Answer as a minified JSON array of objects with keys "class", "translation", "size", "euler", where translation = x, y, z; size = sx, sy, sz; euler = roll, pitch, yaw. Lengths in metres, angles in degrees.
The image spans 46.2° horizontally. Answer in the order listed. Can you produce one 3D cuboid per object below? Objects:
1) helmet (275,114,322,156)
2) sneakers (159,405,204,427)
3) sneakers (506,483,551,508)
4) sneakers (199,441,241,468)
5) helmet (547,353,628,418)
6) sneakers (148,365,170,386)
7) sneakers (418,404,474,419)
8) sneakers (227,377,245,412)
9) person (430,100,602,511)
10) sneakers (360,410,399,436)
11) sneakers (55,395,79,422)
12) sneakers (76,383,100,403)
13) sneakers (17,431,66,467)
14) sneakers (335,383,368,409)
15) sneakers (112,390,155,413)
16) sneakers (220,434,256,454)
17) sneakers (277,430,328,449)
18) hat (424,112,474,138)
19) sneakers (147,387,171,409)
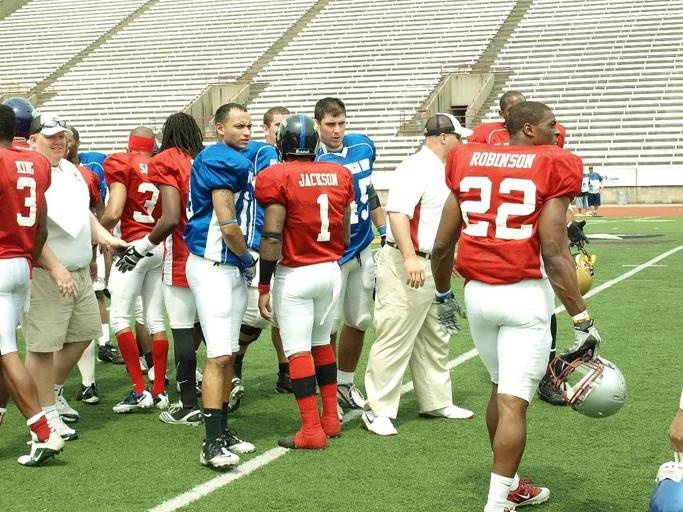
[{"class":"helmet","translation":[-0.308,-0.873,5.778],"size":[0.239,0.277,0.319],"euler":[-1,19,-7]},{"class":"sneakers","translation":[-1.299,1.283,6.484],"size":[0.354,0.179,0.140],"euler":[3,-6,8]},{"class":"sneakers","translation":[1.189,1.530,5.200],"size":[0.341,0.158,0.125],"euler":[-5,7,-28]},{"class":"sneakers","translation":[-0.867,1.375,5.584],"size":[0.294,0.167,0.147],"euler":[-2,-7,35]},{"class":"helmet","translation":[1.471,0.765,4.831],"size":[0.415,0.320,0.357],"euler":[34,-4,24]},{"class":"sneakers","translation":[-1.691,1.088,7.310],"size":[0.130,0.173,0.388],"euler":[2,-4,-31]},{"class":"sneakers","translation":[0.842,1.268,6.546],"size":[0.428,0.192,0.157],"euler":[-3,0,9]},{"class":"sneakers","translation":[-0.888,1.163,6.749],"size":[0.106,0.259,0.126],"euler":[29,5,-10]},{"class":"person","translation":[1.065,0.312,5.152],"size":[0.791,2.558,0.970],"euler":[-3,9,-14]},{"class":"sneakers","translation":[0.288,1.283,6.241],"size":[0.257,0.105,0.135],"euler":[10,4,44]},{"class":"sneakers","translation":[-2.208,1.265,6.531],"size":[0.264,0.120,0.097],"euler":[33,14,12]},{"class":"sneakers","translation":[-2.259,1.205,7.062],"size":[0.104,0.148,0.275],"euler":[0,1,-29]},{"class":"sneakers","translation":[-2.160,1.352,5.714],"size":[0.360,0.233,0.199],"euler":[2,10,20]},{"class":"sneakers","translation":[0.081,1.209,6.862],"size":[0.339,0.143,0.123],"euler":[21,9,41]},{"class":"sneakers","translation":[-1.747,1.232,6.753],"size":[0.360,0.183,0.156],"euler":[-6,-26,-10]},{"class":"sneakers","translation":[-0.758,1.372,5.886],"size":[0.289,0.143,0.107],"euler":[4,-2,0]},{"class":"sneakers","translation":[-0.289,1.324,5.947],"size":[0.296,0.128,0.153],"euler":[4,-2,16]},{"class":"hat","translation":[0.814,-1.011,6.194],"size":[0.289,0.185,0.201],"euler":[-5,15,-4]},{"class":"sneakers","translation":[-1.555,1.233,6.842],"size":[0.085,0.117,0.240],"euler":[3,-15,-26]}]
